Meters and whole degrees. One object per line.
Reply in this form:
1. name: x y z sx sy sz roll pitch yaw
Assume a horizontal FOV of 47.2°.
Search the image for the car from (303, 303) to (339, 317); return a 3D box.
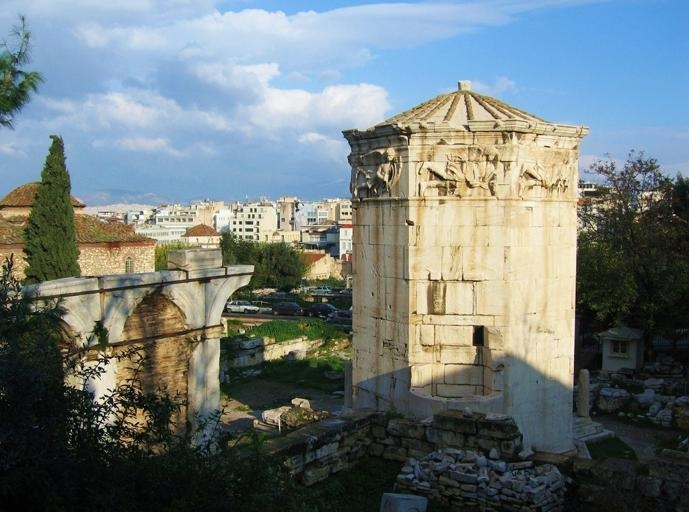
1. car: -1.401 3.137 46.228 1.861 0.627 0.811 3 2 16
